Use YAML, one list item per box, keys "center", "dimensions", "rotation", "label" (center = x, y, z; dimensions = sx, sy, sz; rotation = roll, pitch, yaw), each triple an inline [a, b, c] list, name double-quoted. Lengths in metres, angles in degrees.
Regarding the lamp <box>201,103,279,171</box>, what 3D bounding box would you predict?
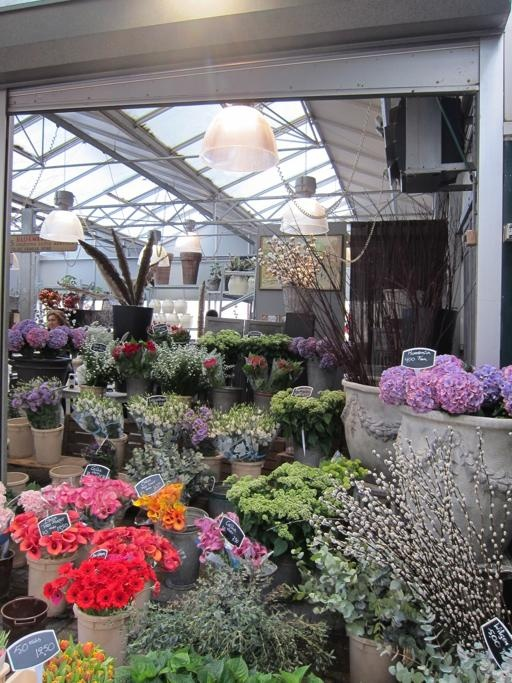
- center: [-0.078, -0.925, 2.185]
  dimensions: [0.341, 0.230, 0.415]
  rotation: [1, 3, 8]
  label: "lamp"
